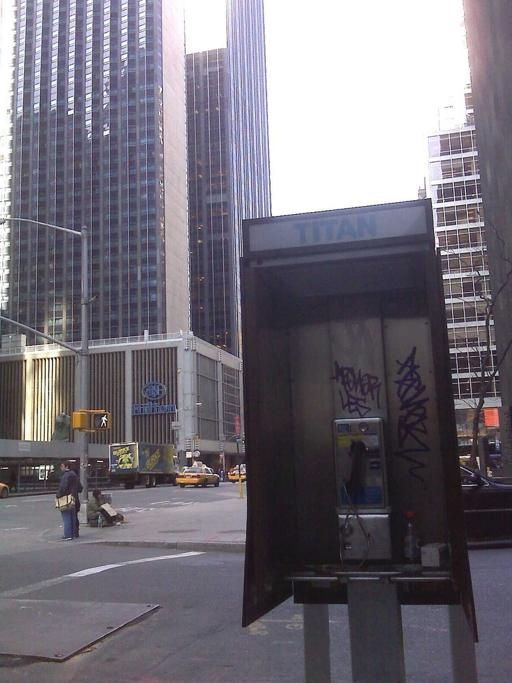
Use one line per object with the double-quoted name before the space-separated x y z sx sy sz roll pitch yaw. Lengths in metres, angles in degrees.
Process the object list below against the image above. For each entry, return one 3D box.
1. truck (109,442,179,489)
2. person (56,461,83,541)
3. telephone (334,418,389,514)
"truck" -8.691 9.709 51.016 2.846 3.379 8.474 -3 -9 15
"person" -3.968 3.367 13.841 0.583 2.107 0.501 1 -4 -12
"telephone" 0.555 0.659 3.466 0.233 0.558 0.231 -4 -7 19
